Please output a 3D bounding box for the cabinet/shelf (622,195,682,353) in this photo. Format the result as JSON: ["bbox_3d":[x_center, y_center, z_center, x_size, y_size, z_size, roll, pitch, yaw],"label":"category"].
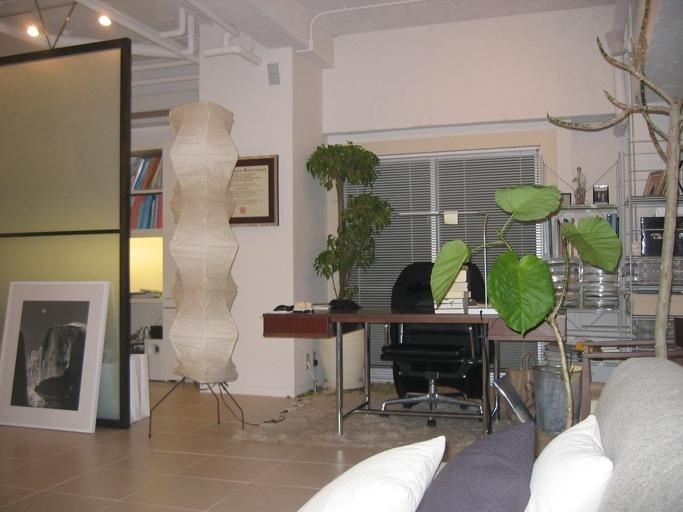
[{"bbox_3d":[2.733,0.098,5.128,0.490,1.276,0.755,-1,1,26],"label":"cabinet/shelf"}]

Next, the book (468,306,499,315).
[{"bbox_3d":[0.990,0.381,4.090,0.189,0.035,0.267,-1,1,11],"label":"book"}]

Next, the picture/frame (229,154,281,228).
[{"bbox_3d":[-1.047,-0.673,5.985,0.752,0.817,0.059,-3,-22,-4],"label":"picture/frame"}]

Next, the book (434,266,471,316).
[{"bbox_3d":[0.821,0.241,4.267,0.254,0.317,0.374,-1,1,12],"label":"book"}]

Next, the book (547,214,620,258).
[{"bbox_3d":[1.439,-0.081,3.363,0.309,0.313,0.223,-1,1,15],"label":"book"}]

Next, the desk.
[{"bbox_3d":[0.591,0.912,4.550,2.026,1.071,0.837,-5,-1,18],"label":"desk"}]

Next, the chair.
[{"bbox_3d":[0.770,0.677,4.894,0.766,1.339,0.810,0,-3,15],"label":"chair"}]

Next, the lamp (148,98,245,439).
[{"bbox_3d":[-1.126,-0.128,4.773,0.563,2.284,0.310,-1,1,-13],"label":"lamp"}]
